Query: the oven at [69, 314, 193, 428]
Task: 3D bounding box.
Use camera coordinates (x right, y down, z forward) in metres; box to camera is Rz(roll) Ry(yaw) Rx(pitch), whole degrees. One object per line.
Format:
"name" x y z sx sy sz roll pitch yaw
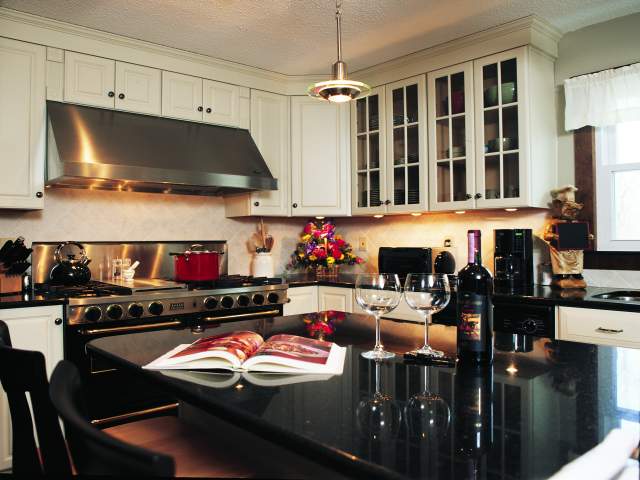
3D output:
"oven" -1.117 0.695 2.931 0.641 0.612 0.616 -8 7 -41

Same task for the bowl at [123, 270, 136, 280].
"bowl" -1.255 0.228 3.282 0.077 0.052 0.073 0 2 0

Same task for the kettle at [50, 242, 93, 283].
"kettle" -1.593 0.135 3.165 0.322 0.286 0.279 0 2 -28

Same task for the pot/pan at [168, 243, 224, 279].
"pot/pan" -0.850 0.154 3.401 0.382 0.212 0.270 0 -4 -10

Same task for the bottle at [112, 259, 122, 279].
"bottle" -1.418 0.195 3.477 0.063 0.137 0.058 1 8 0

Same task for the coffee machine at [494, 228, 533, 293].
"coffee machine" 1.211 0.109 3.083 0.254 0.354 0.214 2 8 8

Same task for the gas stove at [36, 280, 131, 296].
"gas stove" -1.399 0.291 2.928 0.220 0.029 0.371 0 3 -44

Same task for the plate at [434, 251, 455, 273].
"plate" 0.865 0.153 3.450 0.183 0.209 0.125 0 1 5

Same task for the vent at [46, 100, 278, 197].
"vent" -1.095 -0.606 3.293 1.583 0.493 0.504 -2 15 -40

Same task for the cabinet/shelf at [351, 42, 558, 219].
"cabinet/shelf" 0.939 -0.692 3.716 0.481 1.006 1.657 -5 6 -33

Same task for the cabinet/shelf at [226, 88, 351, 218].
"cabinet/shelf" -0.212 -0.677 3.914 0.533 0.934 1.073 8 9 29
